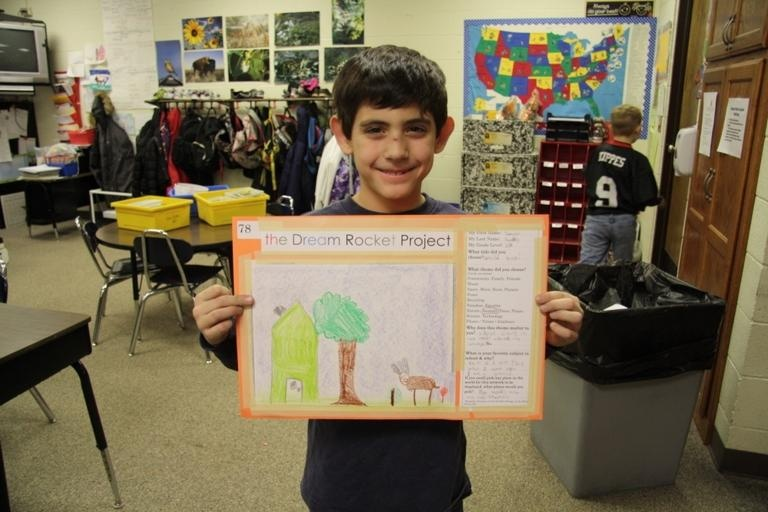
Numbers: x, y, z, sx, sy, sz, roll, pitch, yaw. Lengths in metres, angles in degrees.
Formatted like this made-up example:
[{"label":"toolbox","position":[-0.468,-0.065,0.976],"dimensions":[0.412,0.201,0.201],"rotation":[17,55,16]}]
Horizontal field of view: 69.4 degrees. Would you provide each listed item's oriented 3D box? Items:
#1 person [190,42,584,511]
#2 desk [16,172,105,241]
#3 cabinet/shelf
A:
[{"label":"person","position":[-0.010,0.112,2.147],"dimensions":[1.397,1.798,0.627],"rotation":[-4,16,-14]},{"label":"desk","position":[-4.547,-0.777,8.062],"dimensions":[0.613,0.749,1.161],"rotation":[1,13,10]},{"label":"cabinet/shelf","position":[1.344,-0.649,4.888],"dimensions":[1.459,1.401,0.440],"rotation":[4,14,11]}]
